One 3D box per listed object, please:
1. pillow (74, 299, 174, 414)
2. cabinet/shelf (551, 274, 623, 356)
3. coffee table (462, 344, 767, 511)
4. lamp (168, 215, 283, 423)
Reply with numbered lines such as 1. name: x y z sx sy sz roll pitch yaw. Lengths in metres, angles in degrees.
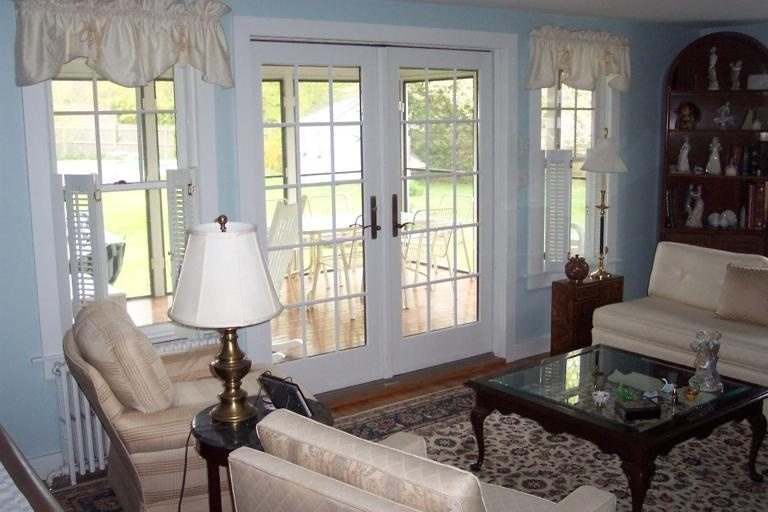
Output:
1. pillow: -1.472 0.568 3.364 0.530 0.566 0.364 7 15 41
2. cabinet/shelf: 1.840 0.545 5.429 0.761 0.688 0.266 -7 9 -37
3. coffee table: 1.333 0.780 3.587 1.122 0.478 1.089 -9 15 -32
4. lamp: -0.736 0.307 2.843 0.414 0.994 0.391 5 14 36
